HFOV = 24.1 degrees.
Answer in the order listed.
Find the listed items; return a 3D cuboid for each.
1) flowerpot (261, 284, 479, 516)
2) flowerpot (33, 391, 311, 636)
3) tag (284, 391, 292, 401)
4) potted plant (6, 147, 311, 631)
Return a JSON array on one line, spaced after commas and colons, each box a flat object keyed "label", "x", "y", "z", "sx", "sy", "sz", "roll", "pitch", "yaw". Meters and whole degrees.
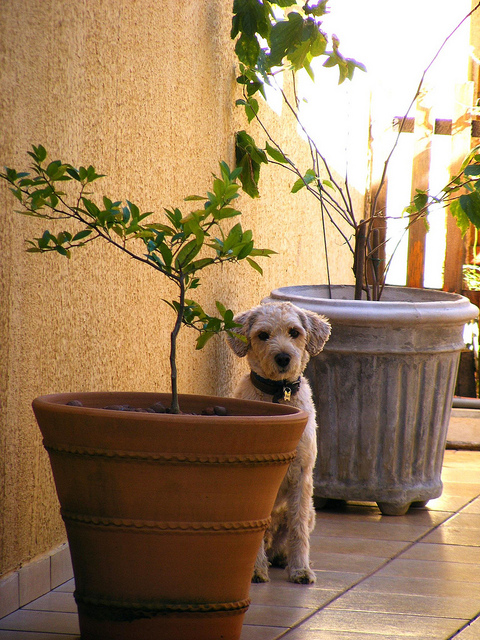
[{"label": "flowerpot", "x": 0.595, "y": 0.308, "z": 5.155, "sx": 0.956, "sy": 0.917, "sz": 0.947, "roll": -1, "pitch": 4, "yaw": -23}, {"label": "flowerpot", "x": -0.196, "y": 0.527, "z": 3.274, "sx": 0.691, "sy": 0.542, "sz": 0.692, "roll": 2, "pitch": -8, "yaw": -2}, {"label": "tag", "x": 0.167, "y": 0.266, "z": 3.947, "sx": 0.028, "sy": 0.035, "sz": 0.028, "roll": 0, "pitch": 3, "yaw": -2}, {"label": "potted plant", "x": -0.243, "y": 0.215, "z": 3.335, "sx": 0.888, "sy": 1.429, "sz": 0.810, "roll": 2, "pitch": 6, "yaw": 3}]
